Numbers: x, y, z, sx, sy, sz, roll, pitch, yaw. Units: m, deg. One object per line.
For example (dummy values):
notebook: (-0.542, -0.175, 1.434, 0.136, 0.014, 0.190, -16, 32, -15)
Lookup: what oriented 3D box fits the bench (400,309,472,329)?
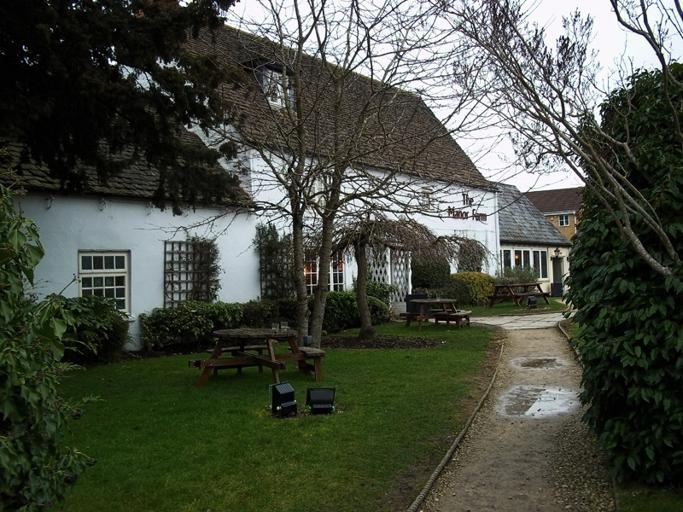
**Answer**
bench: (3.126, 2.080, 17.397, 2.219, 0.679, 2.235, 0, 4, 2)
